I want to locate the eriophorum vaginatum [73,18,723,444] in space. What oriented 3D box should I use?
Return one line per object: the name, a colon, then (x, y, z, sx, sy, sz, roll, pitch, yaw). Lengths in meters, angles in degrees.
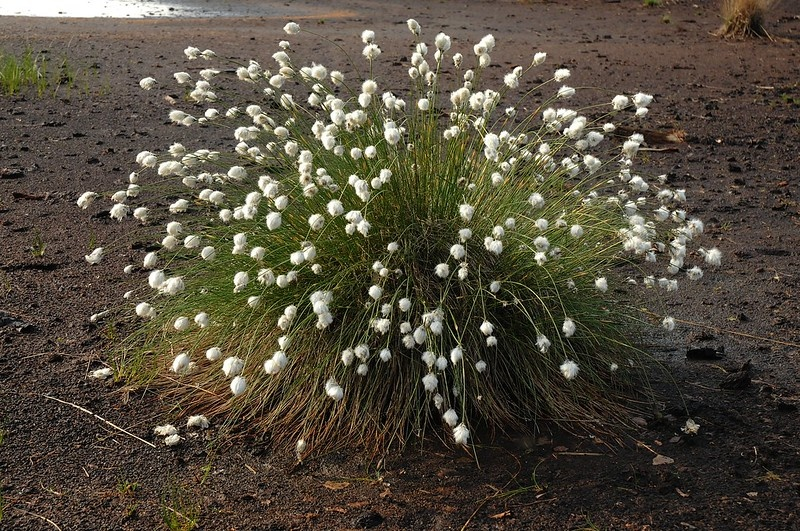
eriophorum vaginatum: (-0.389, -0.153, 5.297, 3.858, 2.045, 3.710, -7, 25, -17)
